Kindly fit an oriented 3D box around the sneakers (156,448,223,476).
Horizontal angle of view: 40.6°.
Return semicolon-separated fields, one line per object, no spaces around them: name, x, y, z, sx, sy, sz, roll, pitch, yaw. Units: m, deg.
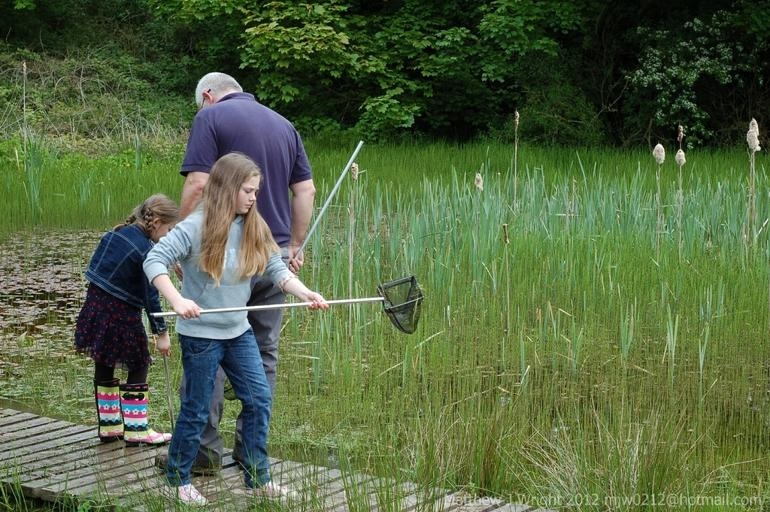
sneakers;-1.419;1.460;7.533;0.539;0.243;0.184;-1;6;0

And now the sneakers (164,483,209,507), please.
sneakers;-1.350;1.623;7.036;0.320;0.145;0.140;7;4;6

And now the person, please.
person;-1.074;0.138;7.430;1.105;2.990;1.032;0;2;-8

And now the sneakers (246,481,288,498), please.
sneakers;-0.796;1.578;7.125;0.334;0.149;0.125;0;-1;3
